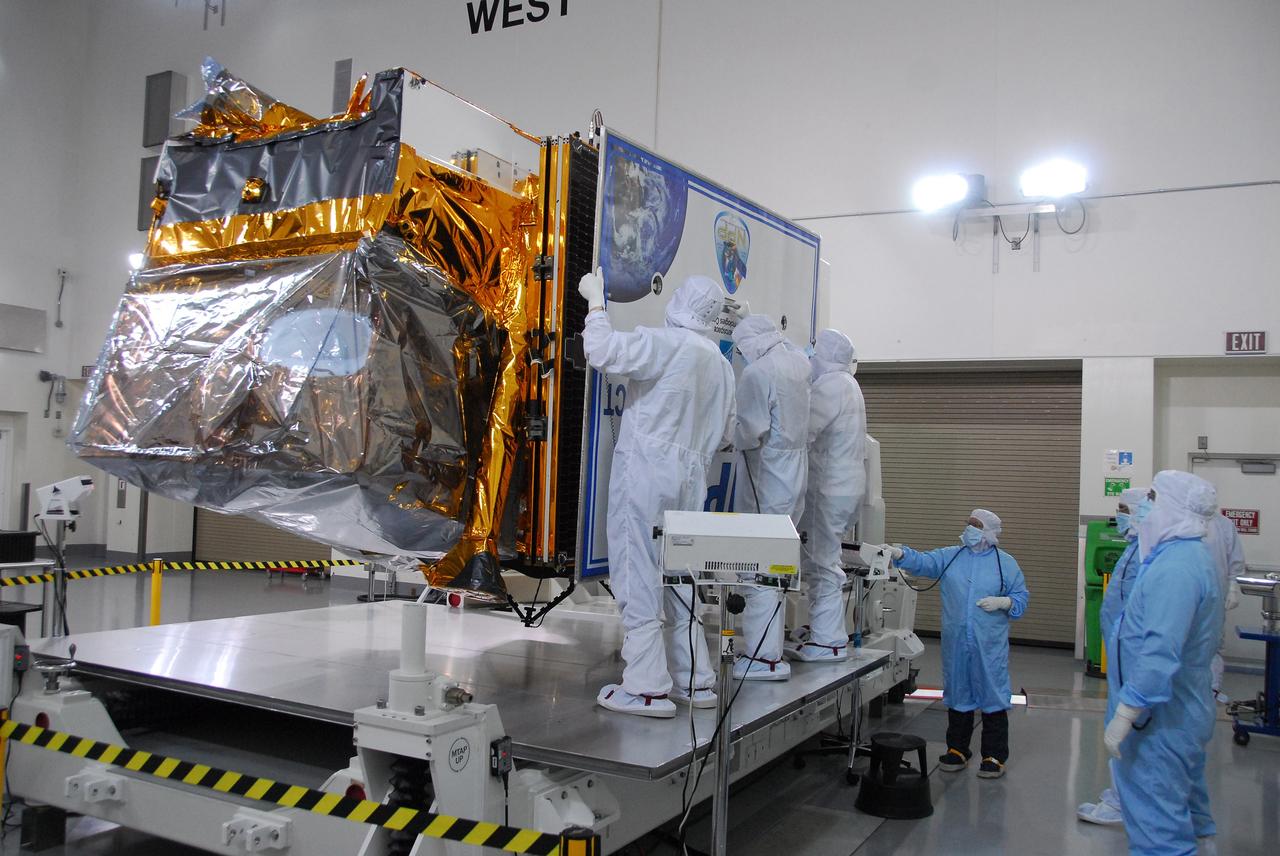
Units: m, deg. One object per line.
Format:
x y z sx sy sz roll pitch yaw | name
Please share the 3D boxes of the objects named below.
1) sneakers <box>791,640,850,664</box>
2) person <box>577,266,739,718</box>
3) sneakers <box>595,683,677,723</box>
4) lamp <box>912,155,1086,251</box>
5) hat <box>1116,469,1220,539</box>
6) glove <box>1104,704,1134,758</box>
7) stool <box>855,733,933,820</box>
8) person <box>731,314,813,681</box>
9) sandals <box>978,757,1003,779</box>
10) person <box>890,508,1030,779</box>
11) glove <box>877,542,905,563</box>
1.251 1.542 7.035 0.365 0.158 0.155 2 -2 10 | sneakers
0.120 0.351 5.917 0.955 2.602 0.508 0 -2 -12 | person
-0.021 1.539 5.788 0.392 0.170 0.186 5 0 33 | sneakers
4.181 -2.293 11.167 1.455 0.760 1.007 2 1 26 | lamp
3.150 0.469 6.069 0.539 0.512 0.430 5 0 40 | hat
2.679 1.681 5.616 0.073 0.286 0.204 29 13 27 | glove
1.768 2.372 6.823 0.494 0.413 0.493 -2 -3 32 | stool
0.867 0.417 6.674 0.498 2.414 0.841 0 -2 8 | person
2.586 2.481 7.344 0.256 0.137 0.103 1 -2 -32 | sandals
2.454 1.582 7.519 0.821 1.935 0.536 -1 -2 20 | person
1.880 0.927 7.508 0.163 0.127 0.074 4 22 1 | glove
